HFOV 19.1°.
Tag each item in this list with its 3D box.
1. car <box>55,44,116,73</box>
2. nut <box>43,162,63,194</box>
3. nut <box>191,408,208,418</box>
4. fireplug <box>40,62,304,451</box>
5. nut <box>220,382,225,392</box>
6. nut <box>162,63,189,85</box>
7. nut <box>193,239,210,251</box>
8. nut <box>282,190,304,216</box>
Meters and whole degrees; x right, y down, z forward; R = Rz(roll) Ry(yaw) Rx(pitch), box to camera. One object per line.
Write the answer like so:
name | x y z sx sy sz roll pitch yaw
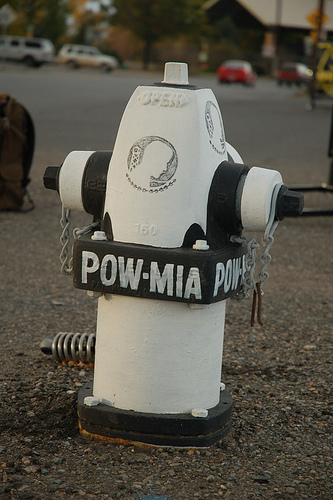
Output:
car | -3.800 -9.216 47.282 2.761 1.291 1.398 0 21 -2
nut | -0.484 -0.310 4.250 0.107 0.114 0.102 4 7 25
nut | 0.134 0.653 4.028 0.038 0.015 0.039 -1 10 -24
fireplug | -0.023 0.021 4.241 0.867 1.788 0.795 -4 19 -29
nut | 0.249 0.606 4.410 0.024 0.034 0.034 1 -1 0
nut | 0.041 -0.715 4.002 0.089 0.068 0.092 2 15 -9
nut | 0.137 -0.023 3.905 0.060 0.035 0.050 3 13 2
nut | 0.527 -0.190 4.038 0.089 0.123 0.088 2 3 20
